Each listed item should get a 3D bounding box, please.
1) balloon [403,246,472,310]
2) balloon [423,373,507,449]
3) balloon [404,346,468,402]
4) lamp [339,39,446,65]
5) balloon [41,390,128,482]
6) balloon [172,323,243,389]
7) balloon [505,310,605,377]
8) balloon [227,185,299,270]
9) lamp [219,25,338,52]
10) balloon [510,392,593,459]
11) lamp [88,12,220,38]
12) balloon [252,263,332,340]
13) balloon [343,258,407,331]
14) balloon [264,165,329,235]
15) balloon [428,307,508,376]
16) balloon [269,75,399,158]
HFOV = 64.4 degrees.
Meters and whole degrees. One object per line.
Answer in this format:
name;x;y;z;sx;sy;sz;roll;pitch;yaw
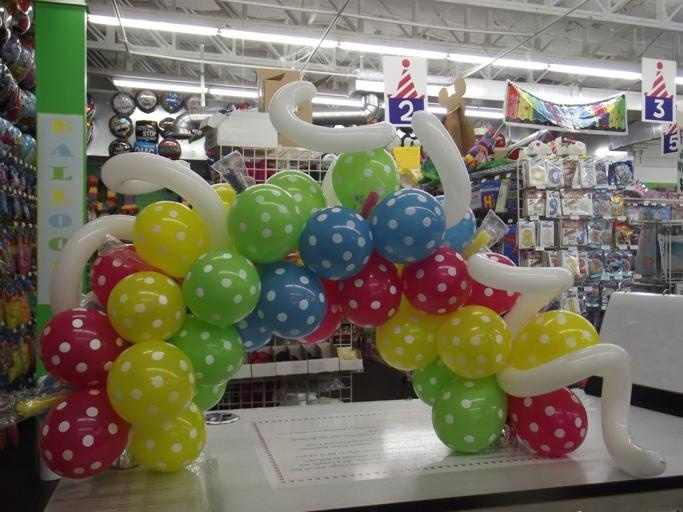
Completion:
balloon;0.415;0.077;2.345;0.238;0.307;0.251;2;5;10
balloon;0.556;0.674;2.352;0.234;0.256;0.321;-16;-11;42
balloon;0.433;0.550;2.503;0.189;0.209;0.226;4;7;-16
lamp;0.721;-2.810;7.452;1.658;0.192;0.568;-4;15;-16
balloon;-0.938;0.660;2.097;0.236;0.266;0.335;-9;1;14
balloon;-0.535;0.382;2.212;0.242;0.303;0.240;5;-32;-23
balloon;0.877;0.341;2.250;0.296;0.246;0.234;-18;-6;12
balloon;-0.263;-0.120;2.101;0.267;0.342;0.281;2;6;6
lamp;-0.827;-2.816;6.969;1.504;0.157;0.567;-6;15;-23
balloon;0.948;0.721;2.381;0.365;0.297;0.264;-17;15;-42
lamp;-2.302;-2.866;6.636;1.544;0.231;0.700;-3;14;-11
balloon;-0.211;0.178;2.228;0.223;0.240;0.305;-16;32;-31
balloon;0.139;0.152;2.229;0.242;0.326;0.259;-1;-2;11
balloon;-0.163;-0.239;2.264;0.215;0.277;0.227;-1;2;10
balloon;0.574;0.365;2.353;0.294;0.375;0.322;0;10;9
balloon;-0.020;-0.606;2.327;0.521;0.304;0.376;4;14;16
